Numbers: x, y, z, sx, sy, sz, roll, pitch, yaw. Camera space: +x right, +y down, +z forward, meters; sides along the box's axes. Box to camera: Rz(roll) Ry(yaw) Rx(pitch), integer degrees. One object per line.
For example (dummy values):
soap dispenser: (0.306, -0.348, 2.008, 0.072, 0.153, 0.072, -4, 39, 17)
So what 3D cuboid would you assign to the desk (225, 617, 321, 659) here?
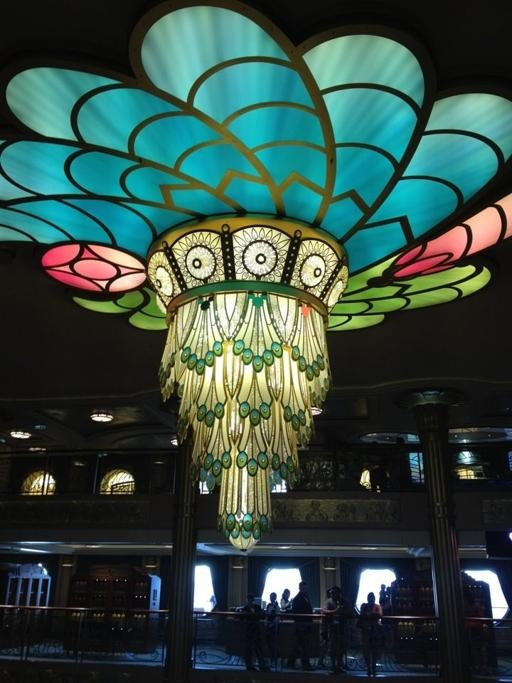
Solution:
desk: (0.265, 5.011, 8.744, 1.643, 0.628, 0.286, -2, -22, 6)

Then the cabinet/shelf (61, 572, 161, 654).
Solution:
cabinet/shelf: (-2.586, 4.972, 9.710, 1.767, 1.555, 0.612, -8, -19, 18)
